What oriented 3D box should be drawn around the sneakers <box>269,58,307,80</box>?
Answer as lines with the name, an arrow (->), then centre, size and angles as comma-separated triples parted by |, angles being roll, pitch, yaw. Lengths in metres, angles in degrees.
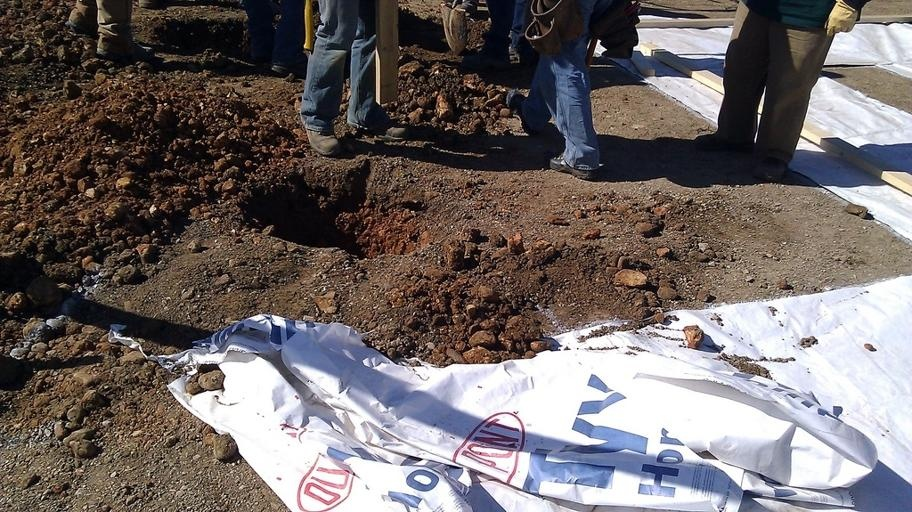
sneakers -> -1.755, -1.940, 6.941 | 0.392, 0.130, 0.224 | 0, 12, -15

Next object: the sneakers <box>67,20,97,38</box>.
sneakers -> -3.883, -2.337, 6.899 | 0.267, 0.093, 0.180 | 0, 15, -22

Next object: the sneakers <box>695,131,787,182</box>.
sneakers -> 2.635, -0.892, 6.082 | 0.639, 0.249, 0.202 | 26, 69, 16

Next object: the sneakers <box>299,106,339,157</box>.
sneakers -> -1.188, -1.083, 5.965 | 0.195, 0.217, 0.533 | -33, 67, -27

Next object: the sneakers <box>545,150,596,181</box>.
sneakers -> 1.022, -0.788, 6.042 | 0.455, 0.204, 0.180 | 31, 40, 19
